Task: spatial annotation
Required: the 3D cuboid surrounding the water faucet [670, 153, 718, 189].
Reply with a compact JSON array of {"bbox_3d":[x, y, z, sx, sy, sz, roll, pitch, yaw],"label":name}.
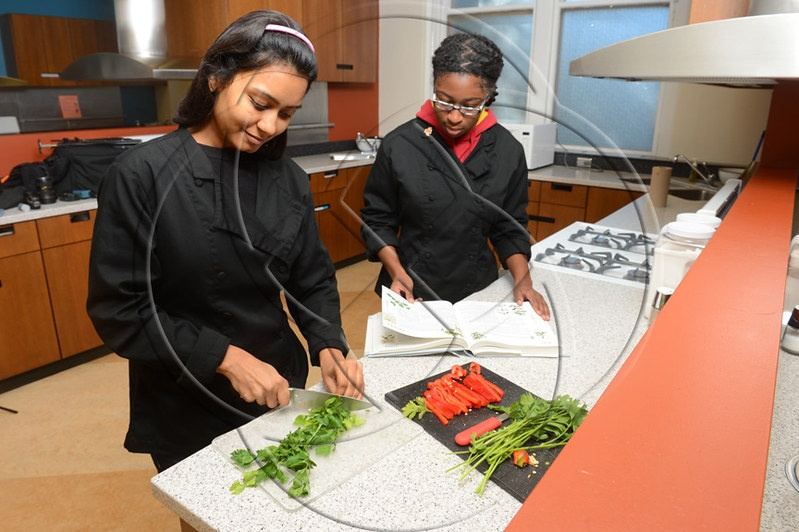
[{"bbox_3d":[1.887,-0.614,2.926,0.249,0.198,0.525,15,30,32],"label":"water faucet"}]
